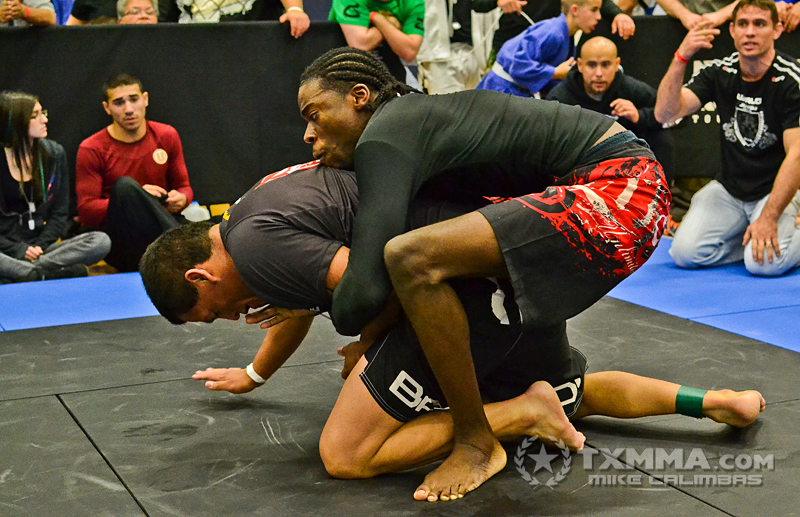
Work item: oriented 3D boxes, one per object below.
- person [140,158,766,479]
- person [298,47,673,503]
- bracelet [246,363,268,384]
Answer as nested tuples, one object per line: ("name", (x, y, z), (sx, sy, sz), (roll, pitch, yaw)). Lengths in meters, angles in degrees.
("person", (0.128, 0.258, 2.589), (2.265, 0.899, 0.925), (3, 8, 10))
("person", (0.336, -0.097, 2.555), (1.213, 1.350, 0.858), (-5, 15, 14))
("bracelet", (-0.581, 0.469, 2.806), (0.093, 0.037, 0.077), (27, -1, 29))
